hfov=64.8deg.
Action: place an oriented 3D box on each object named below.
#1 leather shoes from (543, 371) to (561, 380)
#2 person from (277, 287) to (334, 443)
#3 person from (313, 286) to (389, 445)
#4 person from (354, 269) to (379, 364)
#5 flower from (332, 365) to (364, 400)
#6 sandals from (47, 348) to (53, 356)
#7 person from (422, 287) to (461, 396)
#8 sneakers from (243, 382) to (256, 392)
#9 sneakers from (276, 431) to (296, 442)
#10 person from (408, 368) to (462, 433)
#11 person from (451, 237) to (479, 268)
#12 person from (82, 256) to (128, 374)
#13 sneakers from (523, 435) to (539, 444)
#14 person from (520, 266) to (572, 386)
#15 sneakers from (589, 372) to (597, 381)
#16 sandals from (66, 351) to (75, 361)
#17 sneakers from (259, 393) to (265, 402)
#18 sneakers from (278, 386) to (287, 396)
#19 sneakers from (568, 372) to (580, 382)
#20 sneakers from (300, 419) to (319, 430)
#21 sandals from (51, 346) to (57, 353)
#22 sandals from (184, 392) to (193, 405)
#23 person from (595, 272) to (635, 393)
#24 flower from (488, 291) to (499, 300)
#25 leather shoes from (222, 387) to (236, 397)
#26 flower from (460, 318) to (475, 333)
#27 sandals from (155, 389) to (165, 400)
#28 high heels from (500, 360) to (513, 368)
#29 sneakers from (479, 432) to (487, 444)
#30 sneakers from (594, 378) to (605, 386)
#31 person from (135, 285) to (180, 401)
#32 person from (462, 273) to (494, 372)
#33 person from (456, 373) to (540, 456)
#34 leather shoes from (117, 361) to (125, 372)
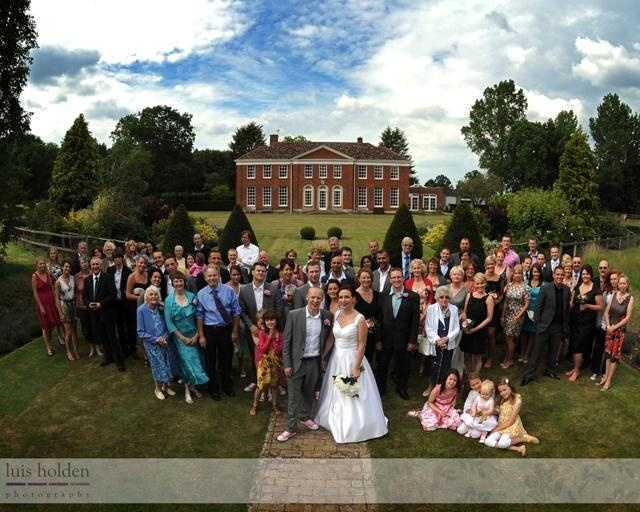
[{"bbox_3d":[4.816,2.467,10.443,0.328,0.121,0.148,18,-7,25],"label":"leather shoes"},{"bbox_3d":[-0.266,1.754,8.479,1.114,2.495,0.576,-5,12,-33],"label":"person"},{"bbox_3d":[0.522,1.770,8.318,1.165,2.527,0.649,-1,9,0],"label":"person"},{"bbox_3d":[0.886,1.260,9.670,0.614,2.020,0.613,-1,18,4],"label":"person"},{"bbox_3d":[0.475,2.090,8.204,0.501,0.499,0.326,-1,9,-1],"label":"flower"},{"bbox_3d":[-6.190,2.186,11.555,0.119,0.150,0.369,-6,11,-28],"label":"sandals"},{"bbox_3d":[2.282,1.579,9.414,0.573,2.008,0.591,-5,16,-10],"label":"person"},{"bbox_3d":[-1.374,2.558,9.871,0.114,0.115,0.278,24,8,23],"label":"sneakers"},{"bbox_3d":[-0.561,2.962,8.344,0.130,0.133,0.313,-6,-11,33],"label":"sneakers"},{"bbox_3d":[2.054,2.492,8.814,0.840,0.943,0.676,0,9,5],"label":"person"},{"bbox_3d":[3.645,-0.079,12.592,0.768,0.845,0.454,0,-4,1],"label":"person"},{"bbox_3d":[-4.576,1.209,10.607,1.004,2.295,0.542,6,11,38],"label":"person"},{"bbox_3d":[3.523,3.009,8.287,0.351,0.133,0.149,1,-22,17],"label":"sneakers"},{"bbox_3d":[4.605,1.372,10.212,1.106,2.322,0.447,-5,10,-27],"label":"person"},{"bbox_3d":[5.644,2.480,10.389,0.139,0.150,0.352,-1,-1,25],"label":"sneakers"},{"bbox_3d":[-5.561,2.232,11.213,0.104,0.154,0.334,-3,-4,-36],"label":"sandals"},{"bbox_3d":[-1.111,2.678,9.573,0.069,0.091,0.219,0,-6,4],"label":"sneakers"},{"bbox_3d":[-0.738,2.646,9.976,0.110,0.123,0.293,-1,-8,-8],"label":"sneakers"},{"bbox_3d":[5.193,2.478,10.320,0.109,0.173,0.370,-13,-25,39],"label":"sneakers"},{"bbox_3d":[-0.170,2.877,8.681,0.131,0.124,0.285,-5,5,-44],"label":"sneakers"},{"bbox_3d":[-6.249,2.199,11.826,0.091,0.172,0.181,4,14,-13],"label":"sandals"},{"bbox_3d":[-2.454,2.652,9.392,0.085,0.122,0.273,5,1,-21],"label":"sandals"},{"bbox_3d":[5.853,1.503,9.944,0.454,2.256,0.674,5,10,31],"label":"person"},{"bbox_3d":[3.635,0.820,10.474,0.223,0.128,0.317,5,1,-6],"label":"flower"},{"bbox_3d":[-1.759,2.609,9.665,0.113,0.188,0.251,4,-7,-38],"label":"leather shoes"},{"bbox_3d":[2.841,1.332,9.613,0.227,0.312,0.257,1,-2,7],"label":"flower"},{"bbox_3d":[-3.046,2.633,9.564,0.198,0.077,0.106,35,24,35],"label":"sandals"},{"bbox_3d":[4.027,2.338,10.894,0.108,0.144,0.323,-6,-15,33],"label":"high heels"},{"bbox_3d":[2.716,3.012,8.383,0.115,0.123,0.193,4,11,27],"label":"sneakers"},{"bbox_3d":[5.660,2.549,10.159,0.234,0.102,0.076,-5,-2,8],"label":"sneakers"},{"bbox_3d":[-3.013,1.464,9.235,0.626,1.776,0.346,-4,9,-19],"label":"person"},{"bbox_3d":[3.057,1.445,9.841,0.584,2.194,0.825,3,9,19],"label":"person"},{"bbox_3d":[2.910,2.610,8.352,1.168,0.948,0.520,4,10,23],"label":"person"},{"bbox_3d":[-4.196,2.313,10.564,0.146,0.187,0.438,2,-6,-22],"label":"leather shoes"}]
